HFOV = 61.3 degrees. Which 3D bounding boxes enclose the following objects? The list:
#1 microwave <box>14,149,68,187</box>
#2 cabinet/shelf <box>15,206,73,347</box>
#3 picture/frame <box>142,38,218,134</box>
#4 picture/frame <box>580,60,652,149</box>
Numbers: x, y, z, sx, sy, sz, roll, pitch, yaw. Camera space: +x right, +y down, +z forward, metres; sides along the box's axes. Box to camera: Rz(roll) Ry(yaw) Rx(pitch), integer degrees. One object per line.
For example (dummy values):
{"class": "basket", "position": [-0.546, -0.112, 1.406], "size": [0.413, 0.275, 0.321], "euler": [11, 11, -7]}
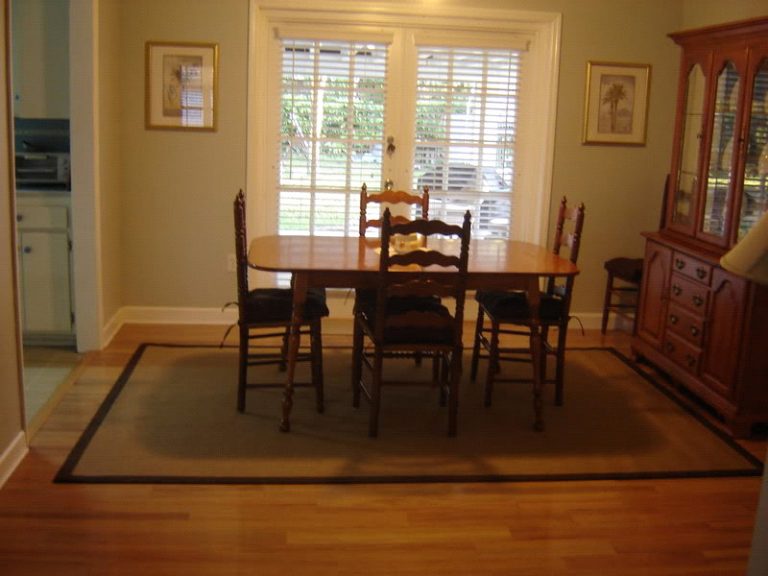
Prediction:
{"class": "microwave", "position": [-2.341, -0.801, 4.392], "size": [0.387, 0.275, 0.233], "euler": [0, 2, -7]}
{"class": "cabinet/shelf", "position": [-2.477, -0.075, 4.507], "size": [0.454, 1.029, 0.506], "euler": [0, -13, -39]}
{"class": "picture/frame", "position": [-1.528, -1.509, 4.748], "size": [0.619, 0.785, 0.054], "euler": [0, 14, -3]}
{"class": "picture/frame", "position": [1.791, -1.457, 5.036], "size": [0.589, 0.753, 0.048], "euler": [2, 6, -14]}
